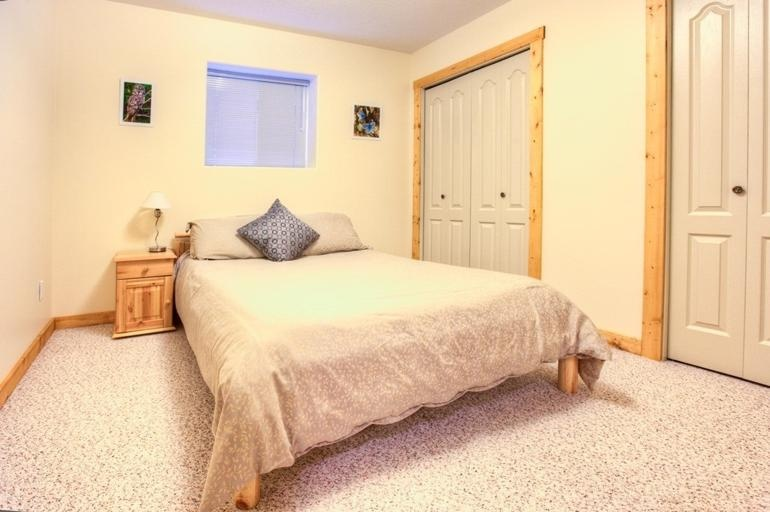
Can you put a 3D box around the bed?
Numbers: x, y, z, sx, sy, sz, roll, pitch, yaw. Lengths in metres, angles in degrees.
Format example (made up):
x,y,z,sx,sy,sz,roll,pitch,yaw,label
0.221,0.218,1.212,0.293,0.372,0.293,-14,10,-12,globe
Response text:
x,y,z,sx,sy,sz,roll,pitch,yaw,label
-0.156,0.650,3.721,2.369,1.013,1.568,-5,11,-24,bed

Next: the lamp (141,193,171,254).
x,y,z,sx,sy,sz,roll,pitch,yaw,label
-2.074,-0.316,4.767,0.231,0.515,0.423,-5,11,-25,lamp

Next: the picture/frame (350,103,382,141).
x,y,z,sx,sy,sz,roll,pitch,yaw,label
-0.216,-1.469,5.774,0.428,0.440,0.032,0,1,-30,picture/frame
